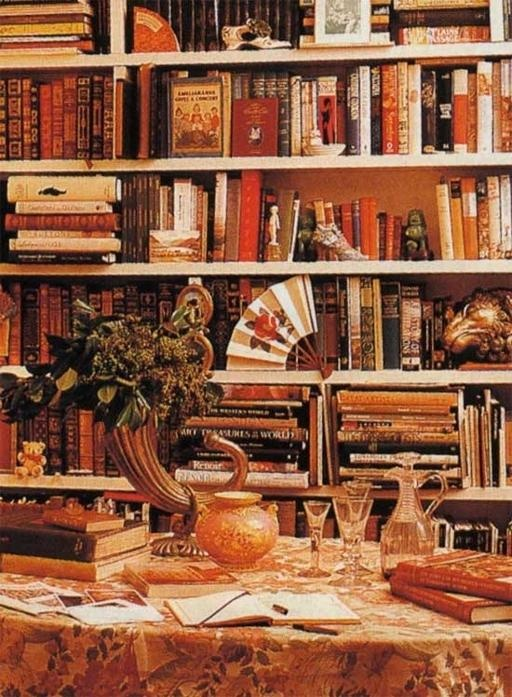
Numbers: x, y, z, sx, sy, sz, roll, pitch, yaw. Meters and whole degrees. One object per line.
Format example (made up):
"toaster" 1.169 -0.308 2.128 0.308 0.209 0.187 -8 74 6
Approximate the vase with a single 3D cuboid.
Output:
"vase" -0.035 0.346 2.054 0.162 0.131 0.162 3 8 30

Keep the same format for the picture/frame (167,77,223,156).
"picture/frame" -0.160 -0.625 2.882 0.204 0.273 0.032 1 6 6
